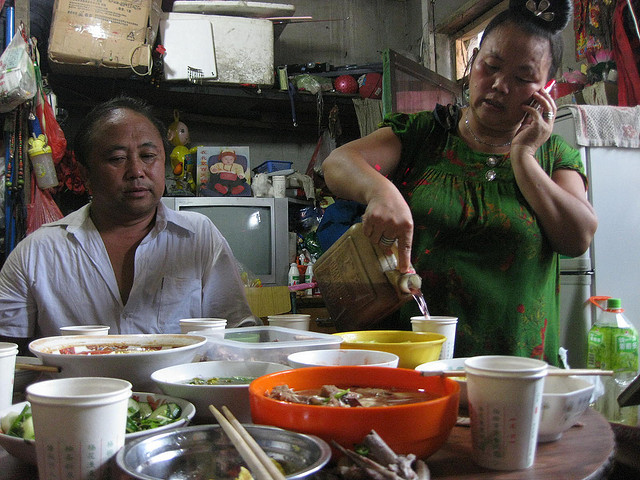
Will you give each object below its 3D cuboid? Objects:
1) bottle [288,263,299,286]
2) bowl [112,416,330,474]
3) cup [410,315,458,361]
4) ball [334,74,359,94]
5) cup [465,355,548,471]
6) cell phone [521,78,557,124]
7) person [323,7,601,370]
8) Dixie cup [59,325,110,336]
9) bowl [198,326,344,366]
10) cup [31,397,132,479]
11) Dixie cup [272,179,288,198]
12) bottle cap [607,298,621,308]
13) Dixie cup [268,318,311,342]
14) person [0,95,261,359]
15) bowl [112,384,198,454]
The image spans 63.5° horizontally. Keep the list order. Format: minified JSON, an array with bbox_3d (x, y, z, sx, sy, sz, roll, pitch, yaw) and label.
[{"bbox_3d":[-0.223,0.290,4.371,0.091,0.182,0.286,0,2,-2],"label":"bottle"},{"bbox_3d":[-0.169,0.380,0.913,0.359,0.070,0.195,0,2,-8],"label":"bowl"},{"bbox_3d":[0.334,0.286,1.532,0.134,0.137,0.133,-1,-8,0],"label":"cup"},{"bbox_3d":[0.270,-1.566,5.141,0.248,0.199,0.101,0,2,-4],"label":"ball"},{"bbox_3d":[0.356,0.336,1.075,0.191,0.197,0.190,0,-5,0],"label":"cup"},{"bbox_3d":[0.761,-0.489,1.804,0.042,0.198,0.050,18,29,-17],"label":"cell phone"},{"bbox_3d":[0.512,-0.160,1.823,0.954,1.242,0.401,-1,2,-23],"label":"person"},{"bbox_3d":[-0.673,0.259,1.485,0.085,0.033,0.083,1,-3,0],"label":"Dixie cup"},{"bbox_3d":[-0.137,0.273,1.353,0.209,0.066,0.148,-3,-3,39],"label":"bowl"},{"bbox_3d":[-0.413,0.338,0.926,0.157,0.159,0.158,0,-4,0],"label":"cup"},{"bbox_3d":[-0.364,-0.452,4.631,0.163,0.192,0.146,2,-13,-10],"label":"Dixie cup"},{"bbox_3d":[1.383,0.296,2.422,0.049,0.035,0.048,0,-6,-7],"label":"bottle cap"},{"bbox_3d":[-0.100,0.280,1.631,0.075,0.075,0.073,0,-3,0],"label":"Dixie cup"},{"bbox_3d":[-0.735,-0.075,2.014,0.913,0.993,0.305,0,2,-11],"label":"person"},{"bbox_3d":[-0.349,0.337,1.045,0.139,0.035,0.135,2,4,0],"label":"bowl"}]
